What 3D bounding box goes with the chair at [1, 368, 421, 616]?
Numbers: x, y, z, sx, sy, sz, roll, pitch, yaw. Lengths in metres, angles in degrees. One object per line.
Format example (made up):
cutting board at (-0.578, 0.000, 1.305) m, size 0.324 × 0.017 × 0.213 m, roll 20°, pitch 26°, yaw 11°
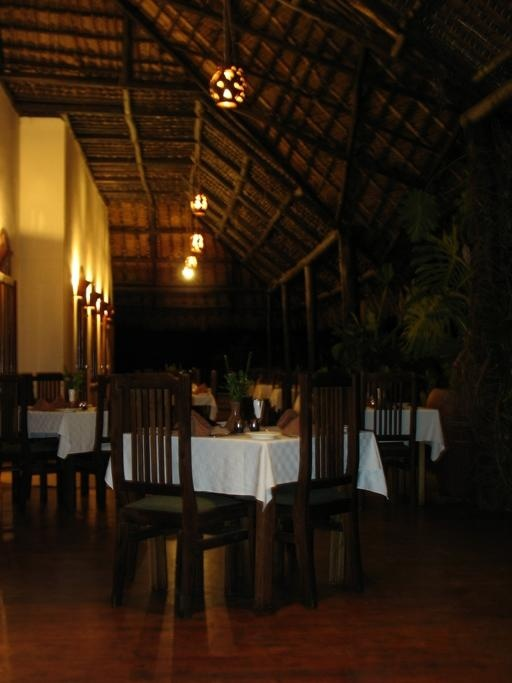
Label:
chair at (-0.010, 0.538, 2.555) m, size 0.844 × 0.898 × 0.885 m, roll 1°, pitch 2°, yaw 33°
